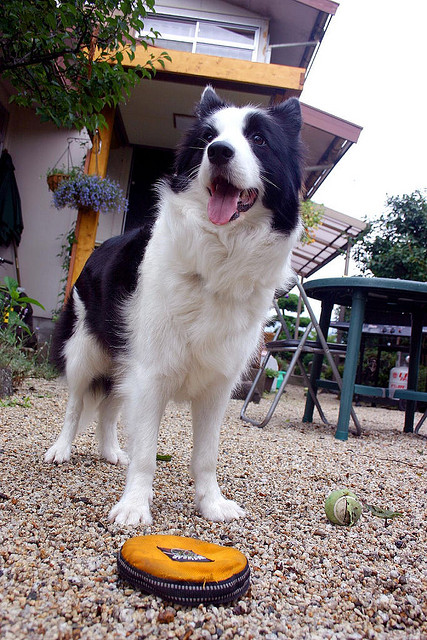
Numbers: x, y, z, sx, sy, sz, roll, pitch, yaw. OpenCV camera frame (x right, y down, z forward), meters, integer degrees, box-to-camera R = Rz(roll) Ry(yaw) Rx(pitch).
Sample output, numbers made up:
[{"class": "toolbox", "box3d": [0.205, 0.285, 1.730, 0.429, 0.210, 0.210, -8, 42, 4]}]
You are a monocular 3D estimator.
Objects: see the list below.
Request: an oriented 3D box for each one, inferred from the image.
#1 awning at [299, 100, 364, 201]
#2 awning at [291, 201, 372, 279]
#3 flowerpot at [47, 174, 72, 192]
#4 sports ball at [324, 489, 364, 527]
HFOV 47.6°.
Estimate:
[{"class": "awning", "box3d": [1.673, -2.597, 7.375, 0.860, 0.861, 2.357, 10, 10, 7]}, {"class": "awning", "box3d": [2.852, -1.339, 12.521, 0.915, 0.529, 2.187, 32, -18, -7]}, {"class": "flowerpot", "box3d": [-1.880, -1.706, 5.803, 0.257, 0.177, 0.260, 2, -6, -1]}, {"class": "sports ball", "box3d": [0.467, 0.675, 1.774, 0.115, 0.120, 0.120, 11, -14, 3]}]
